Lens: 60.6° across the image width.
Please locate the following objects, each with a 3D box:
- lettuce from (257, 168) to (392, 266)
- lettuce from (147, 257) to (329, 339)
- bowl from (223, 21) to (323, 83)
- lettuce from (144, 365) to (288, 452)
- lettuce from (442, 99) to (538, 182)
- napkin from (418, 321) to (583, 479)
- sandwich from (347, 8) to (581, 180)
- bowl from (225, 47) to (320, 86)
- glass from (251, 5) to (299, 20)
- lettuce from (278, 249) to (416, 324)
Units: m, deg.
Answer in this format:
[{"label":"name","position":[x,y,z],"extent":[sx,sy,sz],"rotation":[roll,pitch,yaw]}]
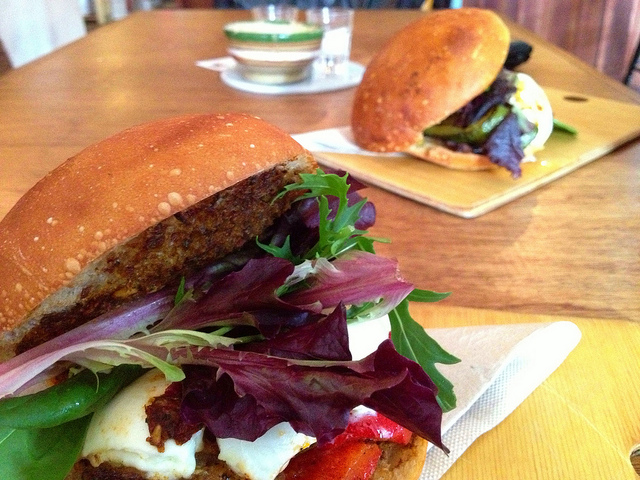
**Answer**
[{"label":"lettuce","position":[0.006,-0.014,0.597],"extent":[0.126,0.048,0.122],"rotation":[40,73,10]},{"label":"lettuce","position":[-0.075,0.057,0.495],"extent":[0.124,0.030,0.103],"rotation":[-5,15,-20]},{"label":"bowl","position":[-0.141,-0.458,1.441],"extent":[0.261,0.083,0.217],"rotation":[2,13,22]},{"label":"lettuce","position":[-0.084,0.151,0.501],"extent":[0.106,0.031,0.094],"rotation":[3,20,-35]},{"label":"lettuce","position":[0.274,-0.170,0.988],"extent":[0.186,0.058,0.150],"rotation":[22,54,19]},{"label":"napkin","position":[0.185,0.184,0.641],"extent":[0.174,0.046,0.254],"rotation":[-8,19,45]},{"label":"sandwich","position":[0.230,-0.247,1.012],"extent":[0.489,0.190,0.360],"rotation":[1,29,4]},{"label":"bowl","position":[-0.125,-0.454,1.442],"extent":[0.261,0.065,0.205],"rotation":[2,9,1]},{"label":"glass","position":[-0.140,-0.729,1.761],"extent":[0.175,0.049,0.135],"rotation":[0,12,-1]},{"label":"lettuce","position":[0.031,0.045,0.536],"extent":[0.153,0.064,0.039],"rotation":[-9,-16,36]}]
